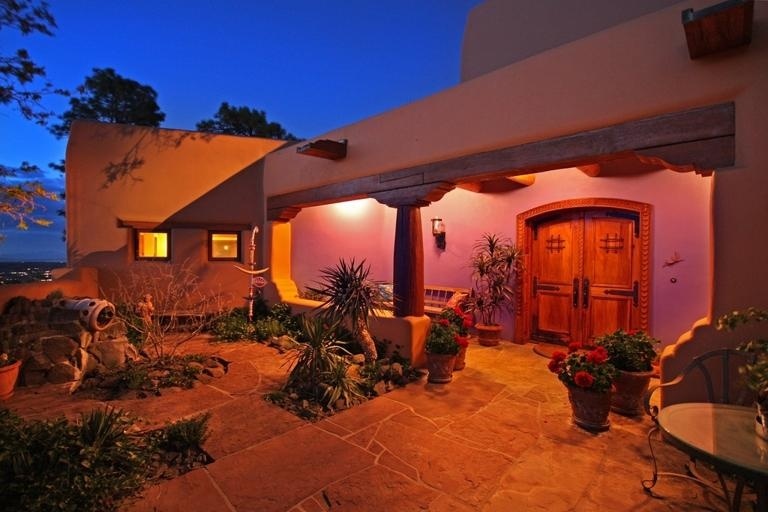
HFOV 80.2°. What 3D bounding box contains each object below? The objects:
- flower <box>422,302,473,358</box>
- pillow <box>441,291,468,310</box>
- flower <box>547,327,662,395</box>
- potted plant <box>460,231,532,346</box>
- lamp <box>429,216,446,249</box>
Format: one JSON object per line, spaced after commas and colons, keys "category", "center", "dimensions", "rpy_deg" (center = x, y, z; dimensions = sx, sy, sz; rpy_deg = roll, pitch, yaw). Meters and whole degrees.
{"category": "flower", "center": [1.236, 1.429, 8.623], "dimensions": [0.669, 0.587, 0.939], "rpy_deg": [7, 4, 6]}
{"category": "pillow", "center": [1.679, 1.062, 10.839], "dimensions": [0.494, 0.472, 0.147], "rpy_deg": [-4, 27, -25]}
{"category": "flower", "center": [3.493, 1.670, 7.152], "dimensions": [1.199, 0.671, 1.055], "rpy_deg": [-11, 3, -19]}
{"category": "potted plant", "center": [2.549, 0.745, 10.575], "dimensions": [1.285, 2.332, 0.759], "rpy_deg": [2, 1, 30]}
{"category": "lamp", "center": [1.414, -0.542, 11.592], "dimensions": [0.364, 0.726, 0.194], "rpy_deg": [2, 1, 24]}
